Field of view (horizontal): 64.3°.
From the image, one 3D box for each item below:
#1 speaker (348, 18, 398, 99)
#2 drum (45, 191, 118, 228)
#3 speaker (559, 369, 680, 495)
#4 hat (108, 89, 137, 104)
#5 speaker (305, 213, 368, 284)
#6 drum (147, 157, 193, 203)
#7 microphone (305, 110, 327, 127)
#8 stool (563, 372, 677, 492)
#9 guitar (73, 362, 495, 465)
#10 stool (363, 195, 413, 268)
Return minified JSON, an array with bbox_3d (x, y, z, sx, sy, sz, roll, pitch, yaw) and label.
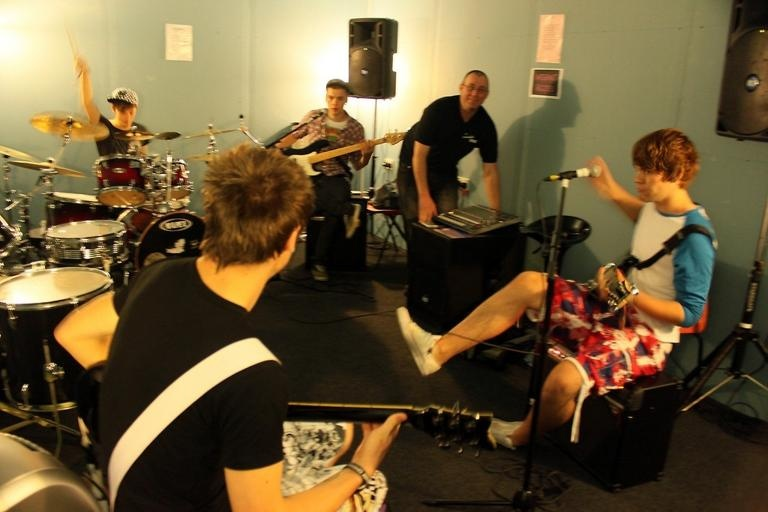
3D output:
[{"bbox_3d":[-0.120,-2.063,6.391,0.512,0.799,0.303,0,19,4],"label":"speaker"},{"bbox_3d":[-2.740,-0.433,5.435,0.431,0.246,0.444,5,15,-1],"label":"drum"},{"bbox_3d":[1.341,0.995,3.483,0.403,0.581,0.638,3,13,-15],"label":"speaker"},{"bbox_3d":[-2.544,-1.576,6.090,0.287,0.099,0.292,9,15,18],"label":"hat"},{"bbox_3d":[-0.468,-0.134,6.272,0.862,0.733,0.562,0,7,-14],"label":"speaker"},{"bbox_3d":[-2.021,-0.720,5.766,0.492,0.433,0.472,1,10,-21],"label":"drum"},{"bbox_3d":[-0.711,-1.436,6.340,0.111,0.045,0.200,18,37,28],"label":"microphone"},{"bbox_3d":[1.350,0.988,3.479,0.393,0.580,0.636,2,10,-17],"label":"stool"},{"bbox_3d":[-0.438,0.750,2.998,1.844,0.203,0.669,3,-1,8],"label":"guitar"},{"bbox_3d":[0.074,-0.255,6.752,0.655,0.532,1.124,0,15,-13],"label":"stool"}]
